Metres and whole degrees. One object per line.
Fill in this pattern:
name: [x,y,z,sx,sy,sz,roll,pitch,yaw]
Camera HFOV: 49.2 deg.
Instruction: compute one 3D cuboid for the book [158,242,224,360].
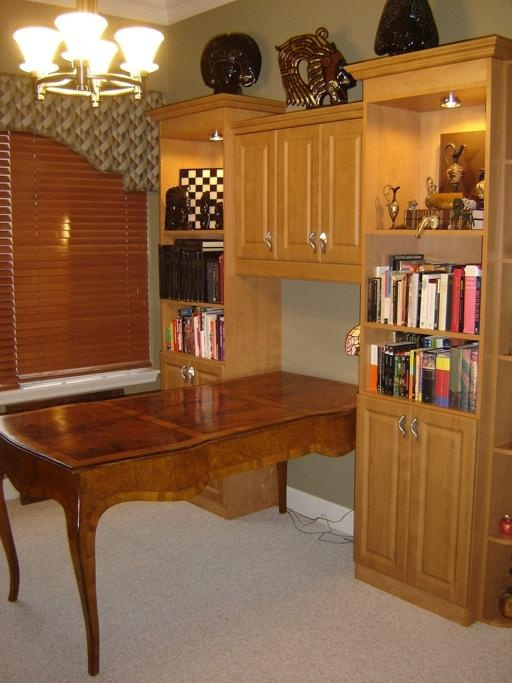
book: [-0.387,-0.253,3.411,0.247,0.653,0.664,-7,12,-38]
